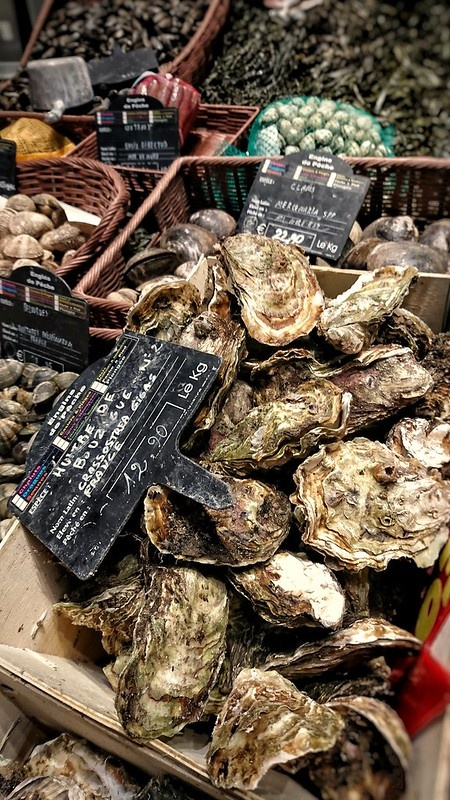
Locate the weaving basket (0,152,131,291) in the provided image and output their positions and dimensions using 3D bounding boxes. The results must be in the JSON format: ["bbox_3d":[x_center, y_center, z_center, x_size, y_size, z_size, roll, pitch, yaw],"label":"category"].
[{"bbox_3d":[-0.613,-0.650,2.612,0.534,0.222,0.636,10,89,36],"label":"weaving basket"}]

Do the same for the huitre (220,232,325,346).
[{"bbox_3d":[0.099,-0.335,1.754,0.261,0.384,0.101,4,82,-6],"label":"huitre"}]

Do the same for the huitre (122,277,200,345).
[{"bbox_3d":[-0.171,-0.237,1.700,0.187,0.159,0.067,-54,30,-5],"label":"huitre"}]

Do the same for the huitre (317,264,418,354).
[{"bbox_3d":[0.349,-0.232,1.549,0.179,0.086,0.289,11,46,38],"label":"huitre"}]
